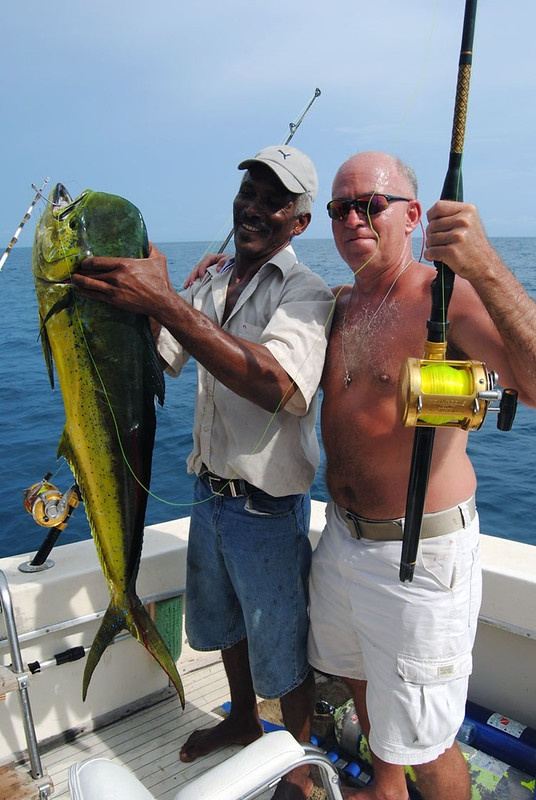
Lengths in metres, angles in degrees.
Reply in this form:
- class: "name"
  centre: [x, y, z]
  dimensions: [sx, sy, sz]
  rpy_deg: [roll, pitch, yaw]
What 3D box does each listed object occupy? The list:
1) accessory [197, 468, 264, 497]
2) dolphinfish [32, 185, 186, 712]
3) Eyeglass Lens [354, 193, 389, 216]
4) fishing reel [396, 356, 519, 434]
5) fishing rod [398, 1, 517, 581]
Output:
- class: "accessory"
  centre: [-0.127, 0.272, 2.269]
  dimensions: [0.107, 0.031, 0.108]
  rpy_deg: [15, -6, 38]
- class: "dolphinfish"
  centre: [-0.422, 0.196, 1.913]
  dimensions: [0.322, 1.485, 0.254]
  rpy_deg: [-5, 16, -8]
- class: "Eyeglass Lens"
  centre: [0.289, -0.548, 2.027]
  dimensions: [0.099, 0.058, 0.025]
  rpy_deg: [0, 15, 5]
- class: "fishing reel"
  centre: [0.413, -0.009, 1.587]
  dimensions: [0.224, 0.114, 0.167]
  rpy_deg: [3, -1, -6]
- class: "fishing rod"
  centre: [0.429, -0.162, 1.647]
  dimensions: [0.250, 1.411, 0.328]
  rpy_deg: [0, 16, 10]
